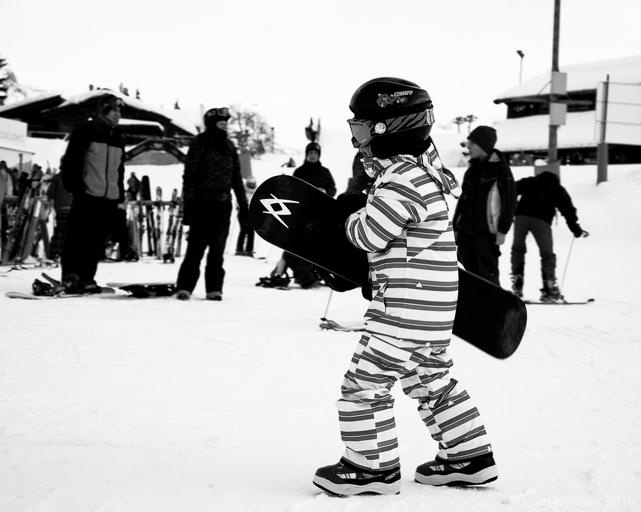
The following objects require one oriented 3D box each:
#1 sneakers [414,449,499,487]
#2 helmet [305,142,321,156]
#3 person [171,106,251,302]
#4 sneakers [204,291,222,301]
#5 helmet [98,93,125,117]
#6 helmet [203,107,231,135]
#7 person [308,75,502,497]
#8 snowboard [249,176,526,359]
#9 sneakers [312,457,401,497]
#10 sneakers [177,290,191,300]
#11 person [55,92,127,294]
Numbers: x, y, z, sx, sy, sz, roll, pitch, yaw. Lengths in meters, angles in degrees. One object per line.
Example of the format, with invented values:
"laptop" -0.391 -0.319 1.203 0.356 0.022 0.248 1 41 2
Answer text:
"sneakers" 0.659 1.023 3.270 0.441 0.212 0.153 0 -5 11
"helmet" -0.108 -1.414 8.907 0.138 0.187 0.166 0 -5 2
"person" -1.135 -0.538 6.952 0.590 1.992 0.872 4 8 -7
"sneakers" -1.068 0.396 6.742 0.140 0.081 0.093 3 9 -13
"helmet" -2.164 -1.571 6.931 0.250 0.228 0.183 -30 31 -23
"helmet" -1.062 -1.378 6.825 0.270 0.223 0.209 -7 19 -12
"person" 0.445 0.130 3.137 0.787 1.904 0.582 5 8 1
"snowboard" 0.482 0.084 4.388 2.342 0.553 0.332 36 -17 1
"sneakers" 0.161 1.010 3.115 0.413 0.211 0.154 4 -6 -6
"sneakers" -1.362 0.390 6.674 0.142 0.084 0.182 3 9 -12
"person" -2.334 -0.637 6.824 0.276 1.986 0.671 8 9 23
